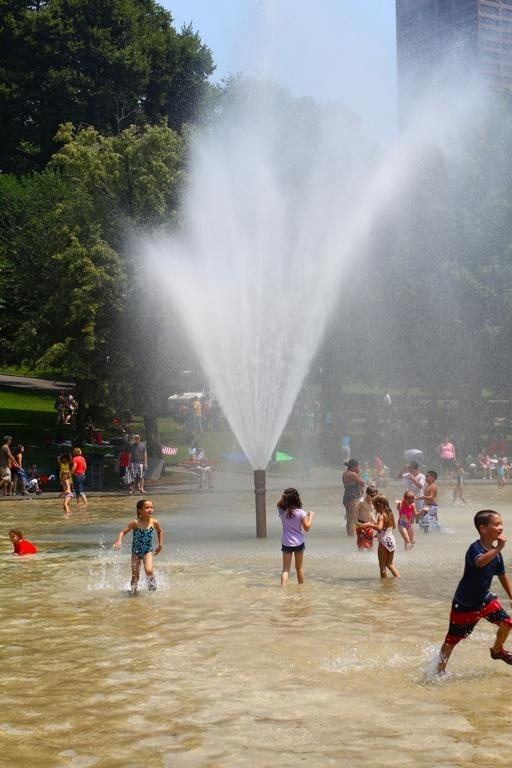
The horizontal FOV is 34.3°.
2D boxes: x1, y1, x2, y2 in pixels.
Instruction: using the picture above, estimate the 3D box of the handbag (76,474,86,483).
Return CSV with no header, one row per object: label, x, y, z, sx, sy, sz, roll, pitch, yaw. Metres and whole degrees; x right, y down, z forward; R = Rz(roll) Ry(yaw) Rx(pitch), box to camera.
handbag,-5.003,2.632,23.516,0.197,0.168,0.157,-3,-1,24
